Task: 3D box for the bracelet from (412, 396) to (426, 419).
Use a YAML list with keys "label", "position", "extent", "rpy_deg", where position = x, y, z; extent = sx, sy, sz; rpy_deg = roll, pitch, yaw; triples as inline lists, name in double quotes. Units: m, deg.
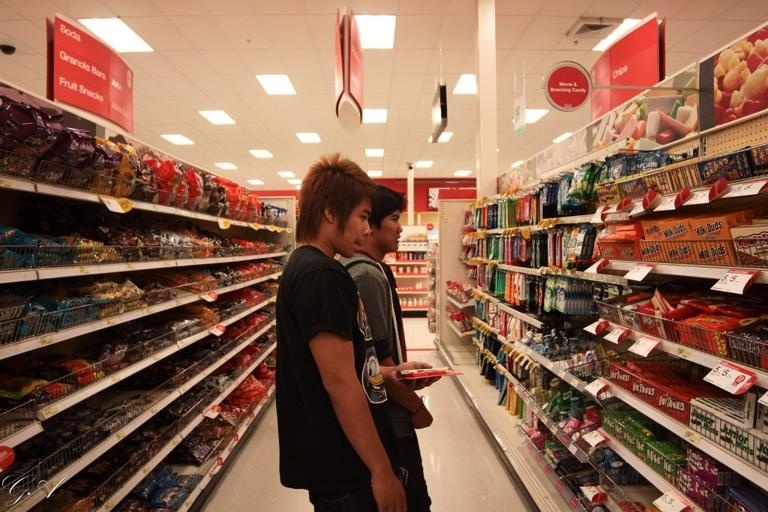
- label: "bracelet"
  position: [0.204, 0.857, 2.483]
  extent: [0.097, 0.030, 0.098]
  rpy_deg: [-31, 27, 5]
